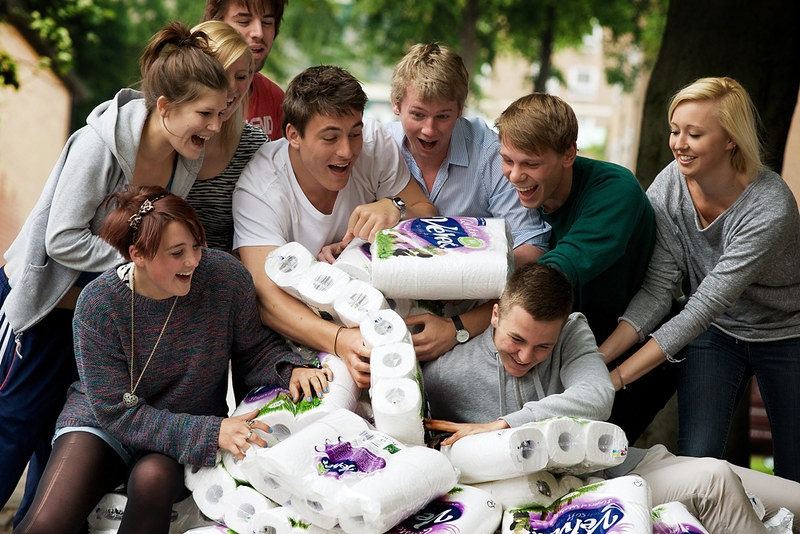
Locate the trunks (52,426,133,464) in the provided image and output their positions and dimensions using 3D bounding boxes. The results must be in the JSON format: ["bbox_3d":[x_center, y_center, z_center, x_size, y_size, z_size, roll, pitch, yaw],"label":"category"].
[{"bbox_3d":[-1.737,0.997,3.706,0.306,0.235,0.114,21,29,-7],"label":"trunks"}]

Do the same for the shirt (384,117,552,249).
[{"bbox_3d":[0.552,-0.592,4.649,0.970,0.970,0.379,-8,24,32],"label":"shirt"}]

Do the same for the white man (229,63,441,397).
[{"bbox_3d":[-0.420,-0.174,4.128,1.016,1.517,1.501,-25,55,-21],"label":"white man"}]

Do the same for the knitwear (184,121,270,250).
[{"bbox_3d":[-1.117,-0.523,4.223,0.685,0.685,0.377,18,2,-1],"label":"knitwear"}]

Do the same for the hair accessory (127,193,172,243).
[{"bbox_3d":[-1.365,-0.254,3.629,0.068,0.221,0.180,39,-19,-20],"label":"hair accessory"}]
